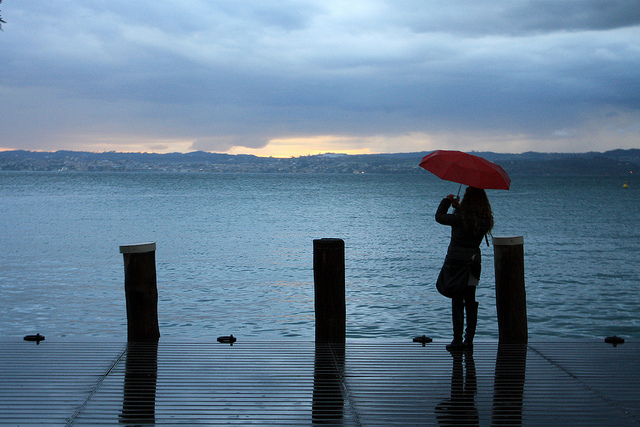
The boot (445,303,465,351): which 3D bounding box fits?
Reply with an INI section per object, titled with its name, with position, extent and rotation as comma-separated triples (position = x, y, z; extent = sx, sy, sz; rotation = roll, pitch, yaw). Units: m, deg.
[boot]
position = 2.428, 2.034, 14.101
extent = 0.321, 0.869, 0.295
rotation = 2, 8, 8
